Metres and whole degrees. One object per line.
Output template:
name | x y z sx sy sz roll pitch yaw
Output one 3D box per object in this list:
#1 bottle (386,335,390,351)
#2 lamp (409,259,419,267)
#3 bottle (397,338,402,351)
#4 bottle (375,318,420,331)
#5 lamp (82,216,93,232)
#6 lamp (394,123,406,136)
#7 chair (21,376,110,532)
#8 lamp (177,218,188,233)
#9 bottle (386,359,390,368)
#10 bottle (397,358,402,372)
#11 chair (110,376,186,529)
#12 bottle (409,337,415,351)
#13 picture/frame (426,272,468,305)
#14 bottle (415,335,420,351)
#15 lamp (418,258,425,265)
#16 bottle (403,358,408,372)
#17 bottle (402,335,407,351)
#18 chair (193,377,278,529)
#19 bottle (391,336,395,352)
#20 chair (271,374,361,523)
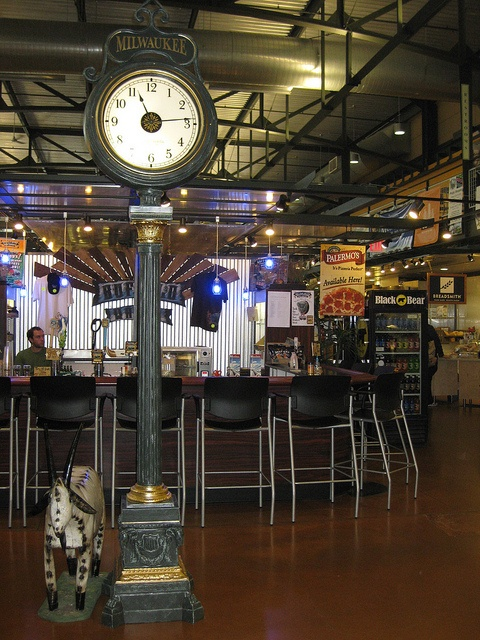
bottle | 1.738 0.285 8.341 0.052 0.168 0.055 -1 0 0
lamp | 3.794 -1.243 15.400 0.091 0.180 0.179 -4 -1 -1
bottle | 1.890 0.293 8.351 0.061 0.154 0.044 -1 0 4
bottle | 1.873 0.038 8.515 0.577 0.190 0.410 -1 0 -1
lamp | -1.928 -1.201 8.907 0.139 0.213 0.122 -8 -5 -12
lamp | 2.532 -3.018 11.227 0.185 0.163 0.180 -2 3 19
chair | -1.236 0.889 4.998 0.710 0.982 0.707 -3 -4 22
lamp | -0.772 -1.206 9.040 0.108 0.201 0.122 -4 -27 15
bottle | 1.694 0.505 8.118 0.053 0.050 0.094 -3 -10 9
bottle | 1.880 0.528 8.345 0.068 0.156 0.211 -1 0 12
chair | -0.668 0.862 5.018 0.523 0.862 0.444 0 -7 -10
bottle | 2.032 0.290 8.381 0.073 0.167 0.054 -1 0 13
picture/frame | 4.253 -0.639 14.526 1.015 0.656 0.104 0 -2 -10
bottle | 2.106 0.280 8.403 0.057 0.184 0.096 -1 0 16
lamp | 3.946 -1.259 15.321 0.154 0.161 0.154 -7 4 24
bottle | 1.959 0.539 8.385 0.060 0.167 0.143 -1 0 12
bottle | 1.956 0.283 8.370 0.092 0.171 0.042 -1 0 -42
chair | -0.064 0.921 5.205 0.610 1.047 0.870 -1 0 1
bottle | 1.799 0.292 8.322 0.069 0.148 0.034 -1 0 -19
chair | 0.573 0.921 5.387 0.656 1.073 1.129 -1 0 5
